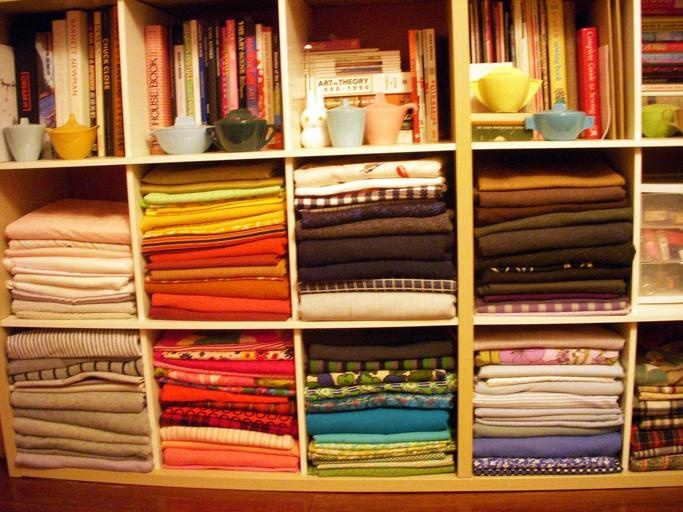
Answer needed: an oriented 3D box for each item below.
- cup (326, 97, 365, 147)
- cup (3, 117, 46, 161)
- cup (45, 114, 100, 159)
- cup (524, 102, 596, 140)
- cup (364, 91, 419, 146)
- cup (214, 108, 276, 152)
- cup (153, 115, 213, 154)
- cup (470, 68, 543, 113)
[{"bbox_3d":[0.017,-0.430,2.064,0.126,0.155,0.064,-3,9,-4],"label":"cup"},{"bbox_3d":[-1.062,-0.388,2.150,0.191,0.149,0.162,-1,6,-9],"label":"cup"},{"bbox_3d":[-0.889,-0.384,2.128,0.204,0.113,0.161,-1,2,-2],"label":"cup"},{"bbox_3d":[0.703,-0.433,2.058,0.216,0.093,0.159,2,15,20],"label":"cup"},{"bbox_3d":[0.160,-0.468,2.160,0.237,0.154,0.138,-9,20,-22],"label":"cup"},{"bbox_3d":[-0.321,-0.414,2.116,0.199,0.143,0.168,-5,9,-21],"label":"cup"},{"bbox_3d":[-0.525,-0.391,2.119,0.168,0.075,0.159,-1,5,0],"label":"cup"},{"bbox_3d":[0.556,-0.558,2.128,0.239,0.166,0.174,-1,8,7],"label":"cup"}]
